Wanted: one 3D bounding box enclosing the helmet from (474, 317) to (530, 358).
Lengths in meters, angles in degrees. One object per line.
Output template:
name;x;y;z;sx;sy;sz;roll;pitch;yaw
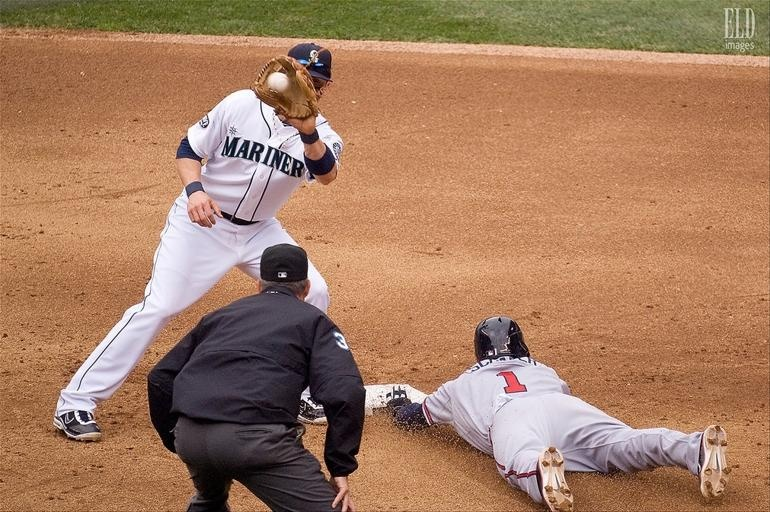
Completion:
helmet;1.139;0.826;12.838;0.438;0.450;0.498;-12;-22;-5

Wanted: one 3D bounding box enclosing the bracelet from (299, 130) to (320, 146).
bracelet;-0.744;-1.164;12.379;0.165;0.113;0.144;-11;46;-6

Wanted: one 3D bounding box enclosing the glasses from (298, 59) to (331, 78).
glasses;-0.684;-1.876;12.687;0.198;0.073;0.256;26;8;4

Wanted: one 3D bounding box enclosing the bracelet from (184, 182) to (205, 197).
bracelet;-1.914;-0.680;12.756;0.179;0.116;0.166;-12;-11;10

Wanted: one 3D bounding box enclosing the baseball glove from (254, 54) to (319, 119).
baseball glove;-0.965;-1.653;12.347;0.743;0.563;0.236;26;12;-46
